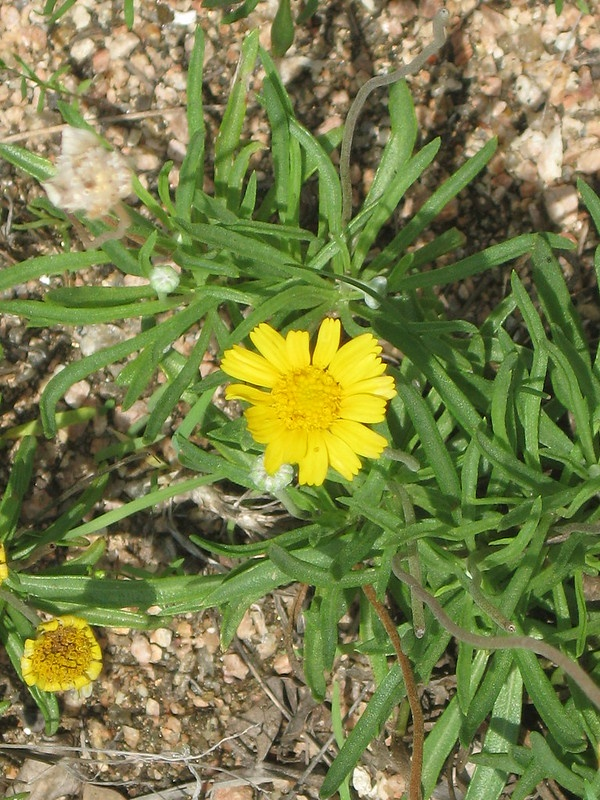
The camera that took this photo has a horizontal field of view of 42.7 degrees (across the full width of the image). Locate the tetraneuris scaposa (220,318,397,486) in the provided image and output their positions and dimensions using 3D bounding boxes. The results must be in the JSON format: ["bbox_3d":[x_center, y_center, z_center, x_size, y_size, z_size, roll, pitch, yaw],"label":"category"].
[{"bbox_3d":[0.013,-0.010,1.638,0.389,0.359,0.091,9,49,-7],"label":"tetraneuris scaposa"}]
